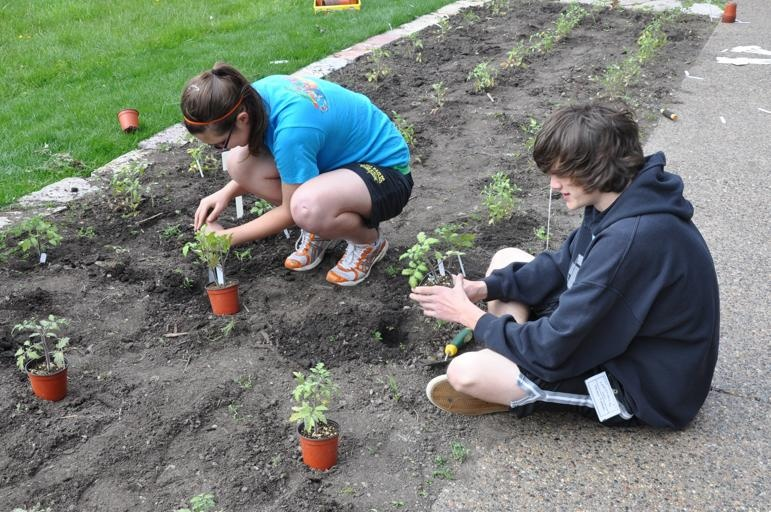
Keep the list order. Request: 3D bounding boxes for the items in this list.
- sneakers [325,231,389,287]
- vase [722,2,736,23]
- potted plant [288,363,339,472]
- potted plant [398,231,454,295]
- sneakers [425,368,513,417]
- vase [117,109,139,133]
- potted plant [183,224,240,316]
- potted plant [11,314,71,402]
[{"bbox_3d":[-0.179,0.009,4.153,0.193,0.225,0.544,21,48,32],"label":"sneakers"},{"bbox_3d":[4.708,-3.293,7.943,0.161,0.210,0.186,11,45,13],"label":"vase"},{"bbox_3d":[-0.383,0.888,3.128,0.272,0.489,0.297,30,51,33],"label":"potted plant"},{"bbox_3d":[0.307,0.076,3.860,0.316,0.362,0.228,-42,41,10],"label":"potted plant"},{"bbox_3d":[0.488,0.770,3.274,0.573,0.182,0.217,6,1,9],"label":"sneakers"},{"bbox_3d":[-2.554,-1.352,5.827,0.200,0.163,0.212,-19,46,-18],"label":"vase"},{"bbox_3d":[-1.120,0.104,3.836,0.361,0.574,0.312,-12,9,-15],"label":"potted plant"},{"bbox_3d":[-1.973,0.614,3.408,0.277,0.431,0.338,6,12,39],"label":"potted plant"}]
